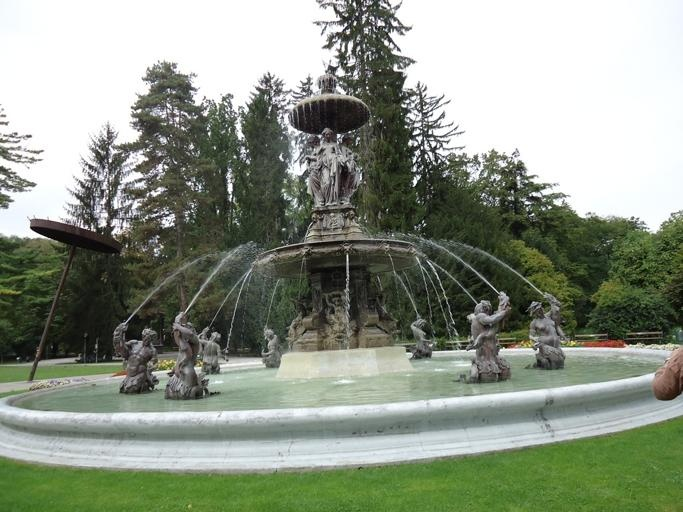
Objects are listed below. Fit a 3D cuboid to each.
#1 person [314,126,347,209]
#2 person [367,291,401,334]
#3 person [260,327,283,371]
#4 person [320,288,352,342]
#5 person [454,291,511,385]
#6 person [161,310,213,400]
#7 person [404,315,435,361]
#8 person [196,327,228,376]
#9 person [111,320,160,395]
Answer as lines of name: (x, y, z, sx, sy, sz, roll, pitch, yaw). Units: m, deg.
person: (-0.368, -2.727, 14.593, 0.892, 2.346, 0.804, -3, 0, 32)
person: (1.207, 1.704, 13.924, 0.756, 1.279, 1.014, -3, -1, -5)
person: (-2.696, 3.461, 18.315, 0.732, 1.467, 3.905, -3, -1, -10)
person: (-0.142, 1.777, 13.352, 0.865, 1.585, 0.672, -3, 0, 11)
person: (2.882, 1.633, 9.516, 1.059, 1.642, 1.082, 1, -4, -25)
person: (-3.043, 2.017, 9.479, 0.855, 1.623, 0.764, -10, -12, 44)
person: (3.098, 2.995, 18.441, 0.873, 1.370, 0.737, 0, 28, 5)
person: (-4.362, 3.327, 15.919, 0.892, 1.694, 0.577, 8, 10, -4)
person: (-4.552, 2.311, 10.663, 1.081, 1.583, 1.097, -5, -11, 40)
